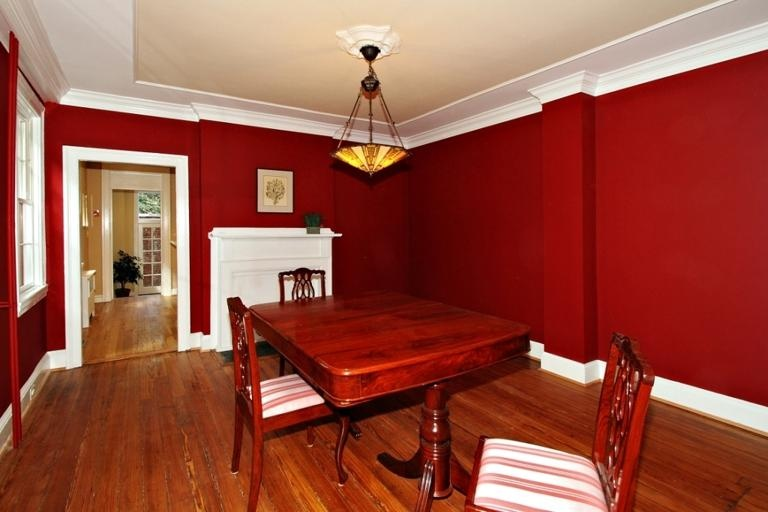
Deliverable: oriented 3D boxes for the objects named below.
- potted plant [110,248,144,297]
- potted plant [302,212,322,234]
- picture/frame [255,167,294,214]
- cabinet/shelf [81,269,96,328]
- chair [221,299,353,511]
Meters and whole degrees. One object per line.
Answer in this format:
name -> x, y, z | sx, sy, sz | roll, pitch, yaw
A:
potted plant -> -4.877, 0.359, 9.597 | 0.526, 0.763, 0.583 | -7, -13, 44
potted plant -> -0.938, -0.431, 6.663 | 0.257, 0.341, 0.241 | 0, 5, -12
picture/frame -> -1.431, -0.849, 6.497 | 0.562, 0.687, 0.043 | -4, 6, -37
cabinet/shelf -> -4.164, 0.602, 7.122 | 0.281, 0.703, 0.722 | -4, 7, -29
chair -> -0.837, 1.065, 4.980 | 1.374, 2.411, 1.301 | -3, 6, -25
